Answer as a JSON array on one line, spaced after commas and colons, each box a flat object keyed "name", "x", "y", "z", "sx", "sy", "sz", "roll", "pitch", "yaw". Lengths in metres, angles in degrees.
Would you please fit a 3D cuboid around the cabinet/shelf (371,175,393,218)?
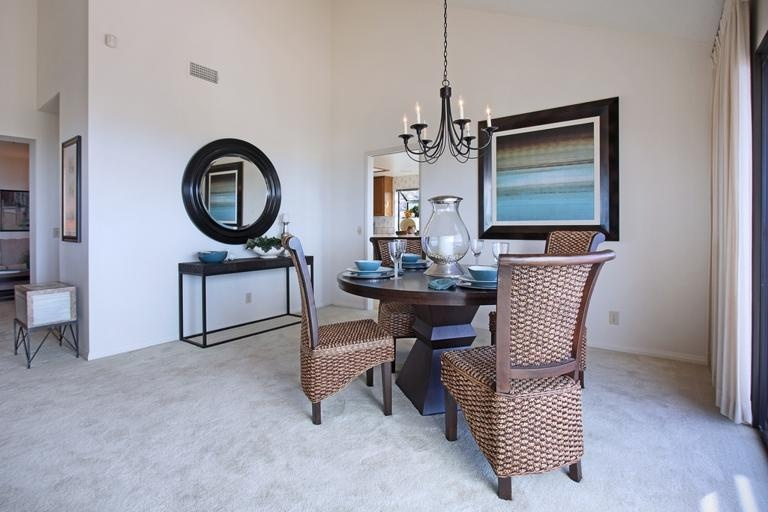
[{"name": "cabinet/shelf", "x": 0.040, "y": -1.534, "z": 12.328, "sx": 0.539, "sy": 0.993, "sz": 0.402, "roll": -2, "pitch": 5, "yaw": -12}]

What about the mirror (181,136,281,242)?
[{"name": "mirror", "x": -1.882, "y": -0.813, "z": 5.888, "sx": 0.123, "sy": 1.228, "sz": 1.216, "roll": -2, "pitch": -13, "yaw": 41}]

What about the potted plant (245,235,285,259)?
[{"name": "potted plant", "x": -1.440, "y": -0.113, "z": 6.144, "sx": 0.447, "sy": 0.266, "sz": 0.454, "roll": 2, "pitch": -1, "yaw": 4}]

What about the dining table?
[{"name": "dining table", "x": 0.452, "y": 0.653, "z": 4.211, "sx": 1.630, "sy": 0.948, "sz": 1.655, "roll": 3, "pitch": 18, "yaw": 34}]

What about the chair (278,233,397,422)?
[{"name": "chair", "x": -0.389, "y": 0.600, "z": 4.256, "sx": 0.880, "sy": 1.444, "sz": 0.794, "roll": -2, "pitch": 5, "yaw": -10}]

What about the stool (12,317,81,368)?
[{"name": "stool", "x": -3.537, "y": 0.849, "z": 5.095, "sx": 0.610, "sy": 0.453, "sz": 0.605, "roll": 2, "pitch": 6, "yaw": -44}]

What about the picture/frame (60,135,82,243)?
[{"name": "picture/frame", "x": -3.278, "y": -0.694, "z": 5.134, "sx": 0.157, "sy": 1.086, "sz": 0.544, "roll": -6, "pitch": 7, "yaw": -43}]
